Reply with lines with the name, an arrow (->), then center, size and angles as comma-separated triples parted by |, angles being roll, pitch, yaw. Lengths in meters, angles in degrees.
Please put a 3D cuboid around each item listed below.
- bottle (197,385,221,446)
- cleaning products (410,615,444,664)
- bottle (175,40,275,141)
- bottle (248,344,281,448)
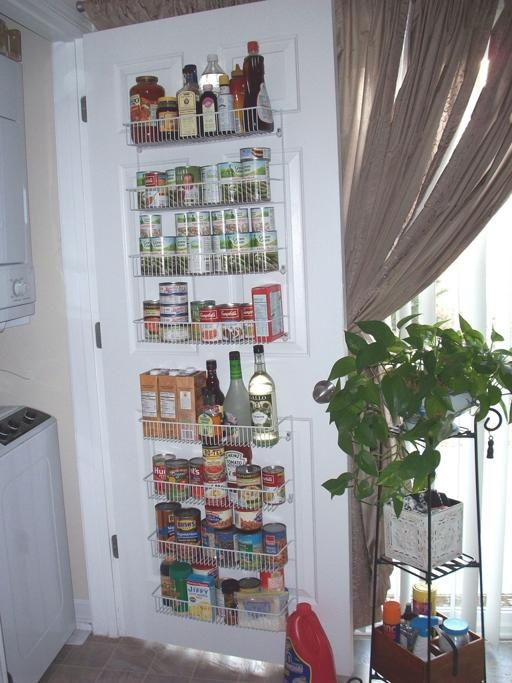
bottle -> -0.139, 0.207, 1.862 | 0.065, 0.154, 0.107 | -5, 8, -23
cleaning products -> 0.453, 0.807, 1.800 | 0.093, 0.112, 0.044 | 2, -1, 1
bottle -> -0.085, -0.644, 1.711 | 0.251, 0.217, 0.122 | -2, 7, 1
bottle -> 0.016, 0.144, 1.833 | 0.078, 0.287, 0.148 | -2, 7, 1
